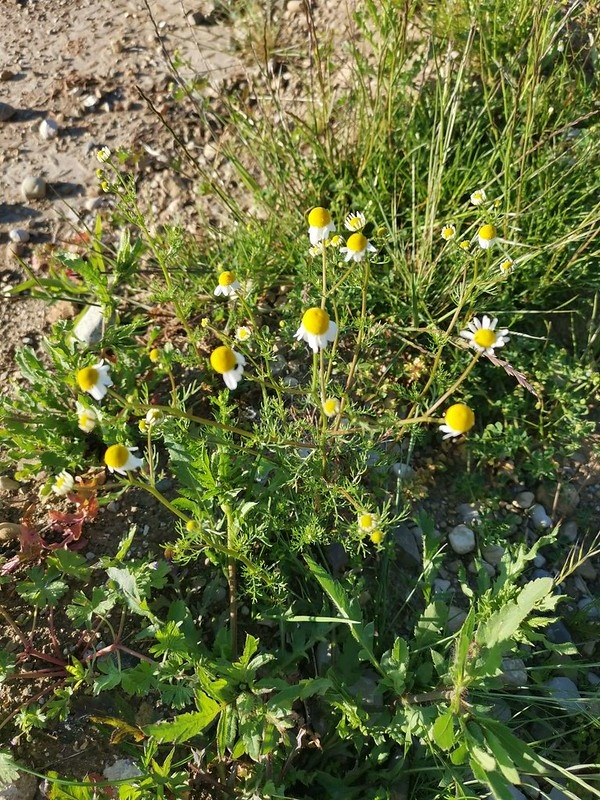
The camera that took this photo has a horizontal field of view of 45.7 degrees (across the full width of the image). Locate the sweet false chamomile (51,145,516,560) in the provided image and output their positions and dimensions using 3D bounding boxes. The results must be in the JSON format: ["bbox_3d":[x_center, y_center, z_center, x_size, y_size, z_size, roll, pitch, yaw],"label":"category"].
[{"bbox_3d":[-0.186,-0.041,2.964,1.938,1.667,1.460,-4,68,26],"label":"sweet false chamomile"}]
